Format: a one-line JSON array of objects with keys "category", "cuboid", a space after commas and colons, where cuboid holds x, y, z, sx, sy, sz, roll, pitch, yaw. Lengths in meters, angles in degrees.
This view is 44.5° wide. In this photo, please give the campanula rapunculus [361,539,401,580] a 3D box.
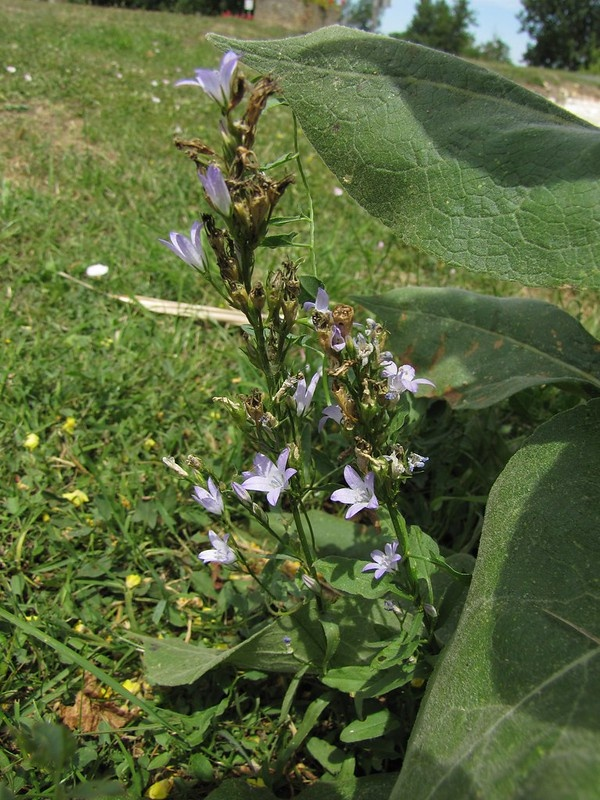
[{"category": "campanula rapunculus", "cuboid": [0.150, 0.283, 1.310, 0.083, 0.068, 0.034, -5, -18, 36]}]

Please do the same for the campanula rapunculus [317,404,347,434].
[{"category": "campanula rapunculus", "cuboid": [0.068, 0.034, 1.474, 0.065, 0.057, 0.030, 7, 22, 31]}]

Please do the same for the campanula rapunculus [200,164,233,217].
[{"category": "campanula rapunculus", "cuboid": [-0.141, -0.352, 1.224, 0.055, 0.080, 0.038, 5, 21, -8]}]

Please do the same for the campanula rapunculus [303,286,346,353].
[{"category": "campanula rapunculus", "cuboid": [0.037, -0.141, 1.275, 0.066, 0.117, 0.055, -9, -13, 9]}]

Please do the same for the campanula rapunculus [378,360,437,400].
[{"category": "campanula rapunculus", "cuboid": [0.210, -0.044, 1.462, 0.106, 0.038, 0.099, 24, 36, 12]}]

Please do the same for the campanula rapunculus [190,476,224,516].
[{"category": "campanula rapunculus", "cuboid": [-0.184, 0.186, 1.504, 0.061, 0.088, 0.113, 6, 19, -6]}]
